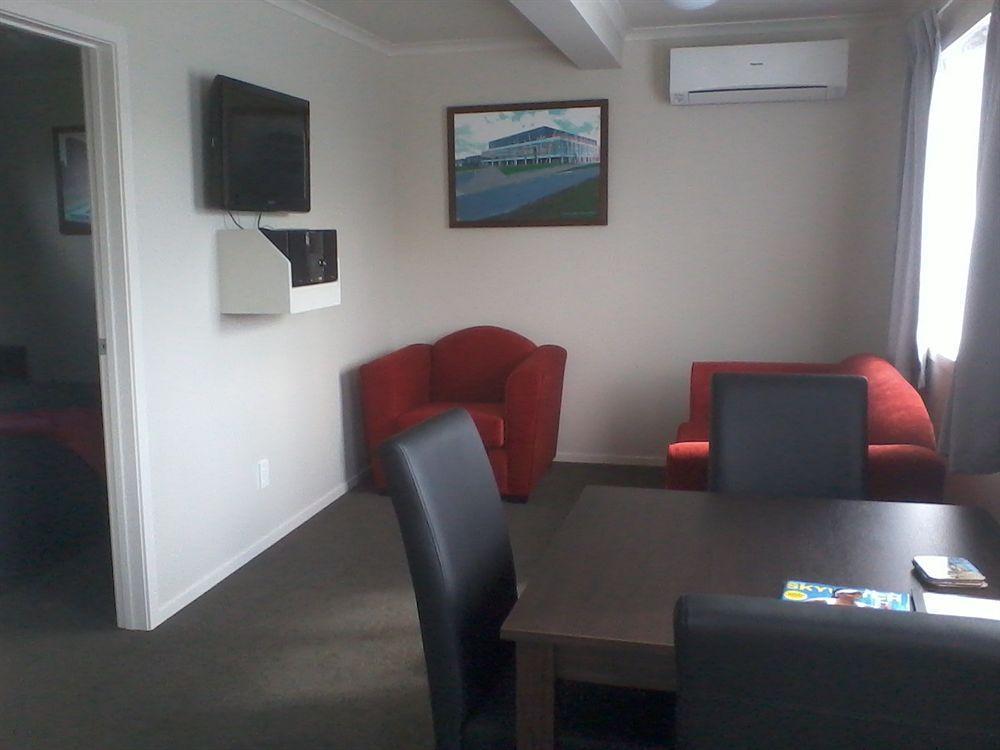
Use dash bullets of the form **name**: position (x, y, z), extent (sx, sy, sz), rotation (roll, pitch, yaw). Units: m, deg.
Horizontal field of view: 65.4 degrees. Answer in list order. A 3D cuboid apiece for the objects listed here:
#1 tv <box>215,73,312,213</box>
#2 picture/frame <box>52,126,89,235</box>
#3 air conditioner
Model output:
- **tv**: position (-1.142, -1.097, 3.718), extent (0.095, 0.546, 0.734), rotation (8, 9, 19)
- **picture/frame**: position (-2.180, -0.983, 3.976), extent (0.163, 0.535, 0.050), rotation (-1, 13, -7)
- **air conditioner**: position (1.532, -1.801, 4.640), extent (0.997, 0.333, 0.094), rotation (4, 14, 12)
